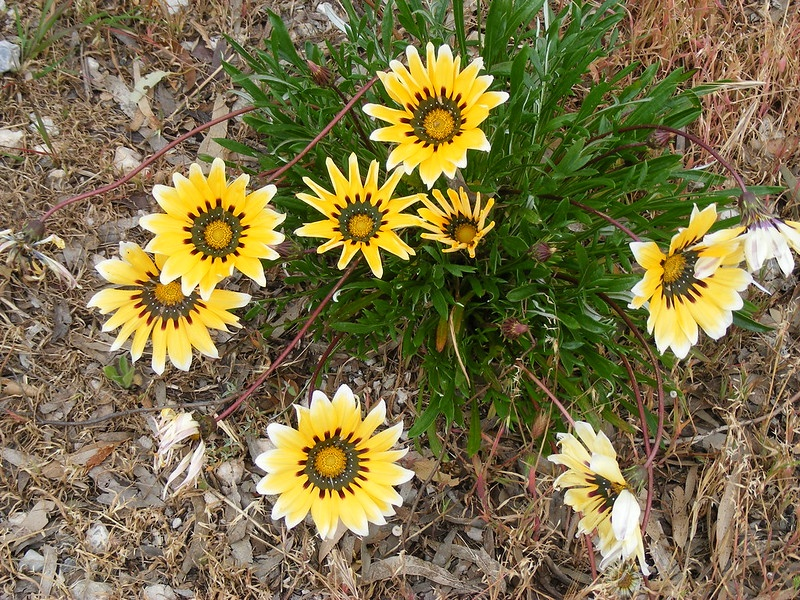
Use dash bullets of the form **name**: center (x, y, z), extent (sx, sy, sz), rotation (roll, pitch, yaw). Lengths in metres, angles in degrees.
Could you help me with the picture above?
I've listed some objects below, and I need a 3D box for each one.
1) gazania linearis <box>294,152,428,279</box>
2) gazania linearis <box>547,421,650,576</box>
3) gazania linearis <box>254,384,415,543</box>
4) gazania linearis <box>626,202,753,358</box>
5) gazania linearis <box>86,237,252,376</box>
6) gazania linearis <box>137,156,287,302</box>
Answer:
- **gazania linearis**: center (-0.147, -0.313, 2.360), extent (0.430, 0.120, 0.475), rotation (-36, 82, -2)
- **gazania linearis**: center (0.774, 0.694, 2.456), extent (0.217, 0.544, 0.451), rotation (-28, 40, -21)
- **gazania linearis**: center (-0.245, 0.610, 2.537), extent (0.577, 0.240, 0.521), rotation (-3, 70, -5)
- **gazania linearis**: center (1.080, -0.082, 2.489), extent (0.473, 0.223, 0.571), rotation (-5, 96, 3)
- **gazania linearis**: center (-0.966, 0.019, 2.748), extent (0.547, 0.566, 0.153), rotation (33, 33, -17)
- **gazania linearis**: center (-0.690, -0.249, 2.526), extent (0.516, 0.299, 0.461), rotation (-8, 70, -7)
